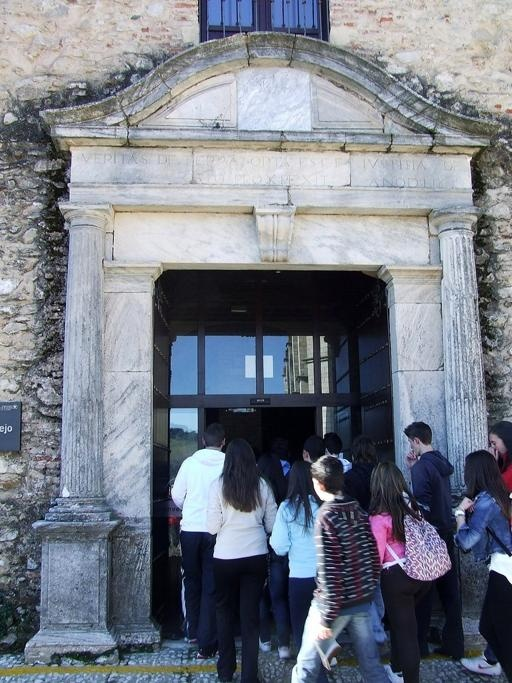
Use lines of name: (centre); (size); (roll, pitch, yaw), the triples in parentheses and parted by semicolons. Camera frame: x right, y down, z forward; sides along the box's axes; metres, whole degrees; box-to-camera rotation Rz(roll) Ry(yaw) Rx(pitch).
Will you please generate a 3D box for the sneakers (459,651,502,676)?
sneakers: (1.443, 2.068, 4.322); (0.244, 0.200, 0.242); (-6, -9, 15)
